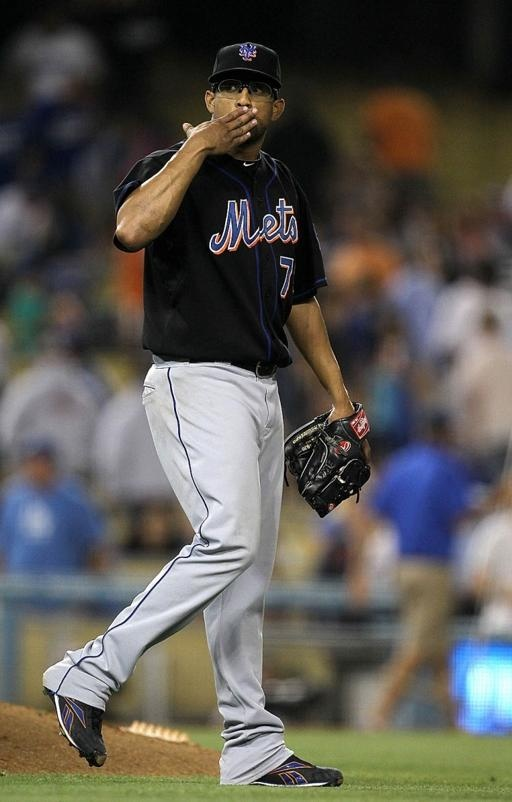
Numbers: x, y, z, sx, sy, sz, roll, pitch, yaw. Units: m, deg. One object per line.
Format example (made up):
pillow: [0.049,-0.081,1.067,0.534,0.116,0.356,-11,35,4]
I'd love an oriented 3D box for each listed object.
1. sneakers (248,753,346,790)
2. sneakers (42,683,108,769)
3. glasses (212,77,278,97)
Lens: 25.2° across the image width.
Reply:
sneakers: [0.100,0.884,2.760,0.247,0.080,0.078,-3,-6,-2]
sneakers: [-0.402,0.740,2.606,0.098,0.228,0.076,-44,7,-7]
glasses: [-0.028,-0.755,2.771,0.154,0.063,0.104,-8,17,0]
